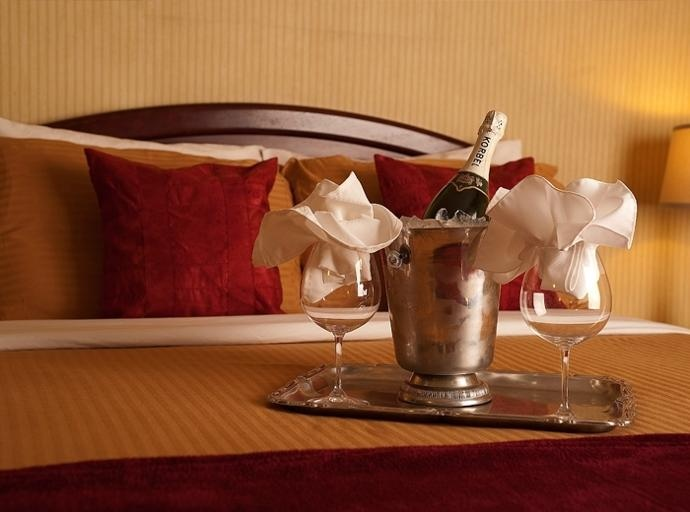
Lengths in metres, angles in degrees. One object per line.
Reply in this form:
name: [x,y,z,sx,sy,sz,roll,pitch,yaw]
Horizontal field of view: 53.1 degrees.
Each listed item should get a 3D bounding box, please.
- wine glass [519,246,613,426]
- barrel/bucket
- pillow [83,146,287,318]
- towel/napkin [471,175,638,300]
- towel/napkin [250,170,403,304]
wine glass: [0.316,0.115,1.010,0.126,0.240,0.062,4,12,14]
barrel/bucket: [0.153,0.087,1.121,0.267,0.294,0.261,1,-1,0]
pillow: [-0.446,-0.047,1.863,0.502,0.426,0.164,-2,-25,-17]
towel/napkin: [0.313,-0.054,1.035,0.227,0.110,0.219,3,28,-14]
towel/napkin: [-0.038,-0.032,1.120,0.227,0.212,0.252,7,8,-28]
